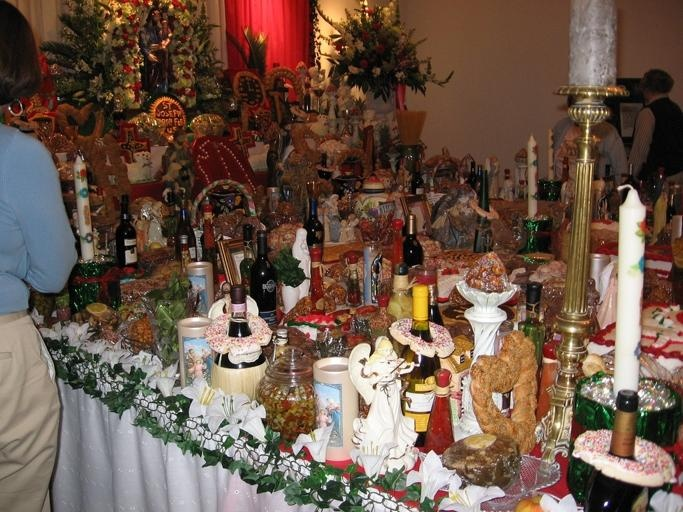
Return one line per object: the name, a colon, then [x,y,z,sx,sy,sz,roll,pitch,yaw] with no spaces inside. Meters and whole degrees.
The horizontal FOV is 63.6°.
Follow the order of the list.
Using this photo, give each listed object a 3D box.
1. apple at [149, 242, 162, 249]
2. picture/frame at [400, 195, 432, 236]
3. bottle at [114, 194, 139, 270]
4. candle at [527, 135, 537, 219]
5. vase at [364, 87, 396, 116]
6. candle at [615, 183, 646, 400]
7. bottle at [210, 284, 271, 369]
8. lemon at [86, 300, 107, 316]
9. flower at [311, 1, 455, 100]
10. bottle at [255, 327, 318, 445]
apple: [-0.923,-0.050,2.733,0.040,0.052,0.041,2,-4,25]
picture/frame: [0.479,-0.286,3.357,0.235,0.258,0.065,-5,-15,-38]
bottle: [-1.005,-0.119,2.562,0.094,0.343,0.189,-4,4,-21]
candle: [0.770,-0.317,2.237,0.031,0.324,0.297,-1,4,18]
vase: [0.367,-1.460,5.233,0.243,0.256,0.224,2,10,8]
candle: [0.584,0.080,1.128,0.059,0.446,0.239,-1,4,28]
bottle: [-0.302,0.229,1.623,0.196,0.267,0.202,3,15,-1]
lemon: [-0.953,0.207,2.158,0.072,0.044,0.075,-6,5,-44]
flower: [0.331,-1.959,5.203,0.912,0.999,0.368,-3,3,0]
bottle: [-0.149,0.378,1.525,0.175,0.247,0.098,0,4,33]
